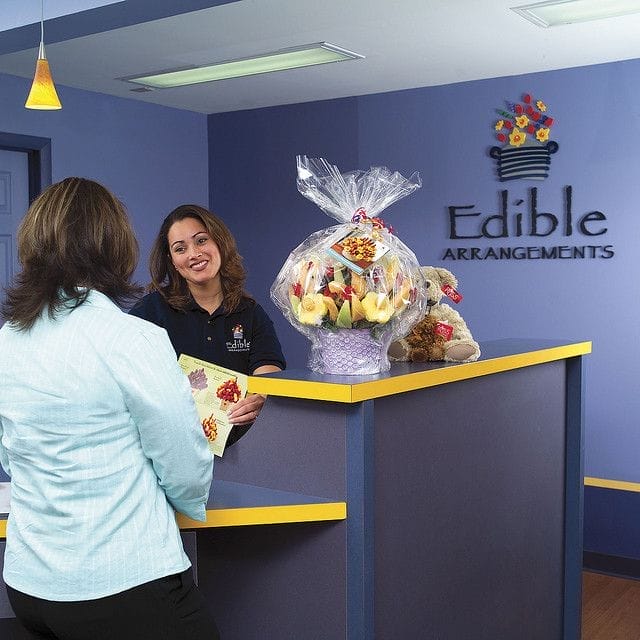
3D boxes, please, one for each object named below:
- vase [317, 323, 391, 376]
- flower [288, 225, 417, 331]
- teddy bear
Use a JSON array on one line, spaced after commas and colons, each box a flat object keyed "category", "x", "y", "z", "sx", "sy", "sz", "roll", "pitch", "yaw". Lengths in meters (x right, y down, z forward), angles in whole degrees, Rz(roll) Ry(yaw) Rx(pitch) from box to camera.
[{"category": "vase", "x": 0.063, "y": 0.059, "z": 1.195, "sx": 0.115, "sy": 0.067, "sz": 0.112, "roll": 0, "pitch": -1, "yaw": 6}, {"category": "flower", "x": 0.070, "y": -0.072, "z": 1.129, "sx": 0.206, "sy": 0.119, "sz": 0.200, "roll": 3, "pitch": 31, "yaw": 32}, {"category": "teddy bear", "x": 0.257, "y": -0.011, "z": 1.405, "sx": 0.235, "sy": 0.221, "sz": 0.154, "roll": 2, "pitch": 17, "yaw": 20}]
